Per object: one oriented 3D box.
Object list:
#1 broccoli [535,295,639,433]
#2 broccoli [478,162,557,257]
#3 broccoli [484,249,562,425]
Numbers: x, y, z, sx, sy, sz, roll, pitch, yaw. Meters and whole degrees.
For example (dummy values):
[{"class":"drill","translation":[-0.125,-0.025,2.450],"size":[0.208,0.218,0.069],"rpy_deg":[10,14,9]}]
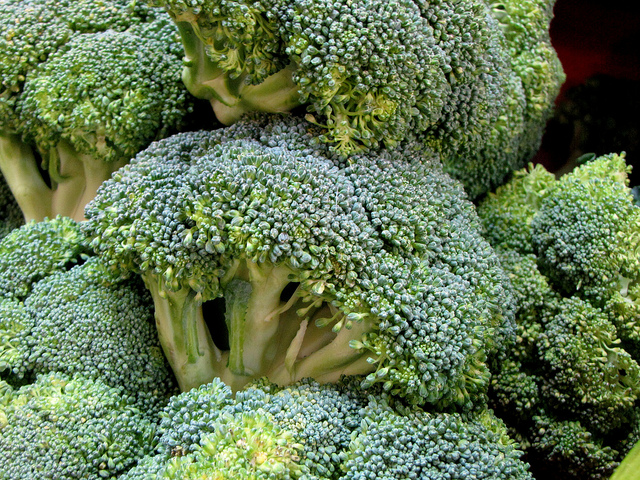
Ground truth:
[{"class":"broccoli","translation":[0.900,0.381,2.166],"size":[0.413,0.329,0.230],"rpy_deg":[47,22,13]},{"class":"broccoli","translation":[0.710,-0.098,2.491],"size":[0.295,0.383,0.185],"rpy_deg":[-25,75,-15]},{"class":"broccoli","translation":[0.707,0.319,2.233],"size":[0.248,0.386,0.533],"rpy_deg":[-11,98,-36]}]
